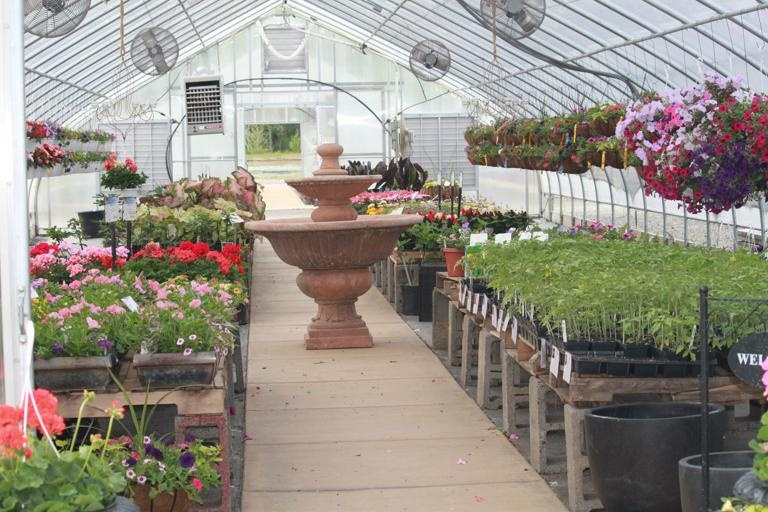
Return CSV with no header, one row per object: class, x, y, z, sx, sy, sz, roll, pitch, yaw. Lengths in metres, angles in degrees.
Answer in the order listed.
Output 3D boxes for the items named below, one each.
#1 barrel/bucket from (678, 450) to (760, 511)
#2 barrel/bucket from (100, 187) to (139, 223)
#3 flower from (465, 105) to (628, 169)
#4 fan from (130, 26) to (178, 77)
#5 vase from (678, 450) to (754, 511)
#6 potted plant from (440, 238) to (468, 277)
barrel/bucket,2.168,1.465,7.516,0.397,0.387,0.407,-2,1,0
barrel/bucket,-2.381,-0.361,10.404,0.311,0.320,0.260,1,-35,-16
flower,1.604,-1.147,11.959,0.540,0.624,3.142,-1,3,-15
fan,-2.819,-2.507,13.965,0.543,0.578,0.703,-5,15,-13
vase,2.159,1.459,7.518,0.393,0.329,0.416,-3,0,14
potted plant,0.661,0.023,11.041,0.274,0.308,0.303,0,-1,1
